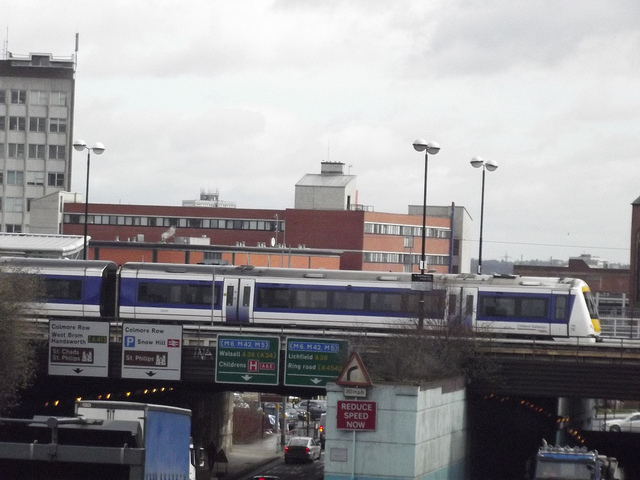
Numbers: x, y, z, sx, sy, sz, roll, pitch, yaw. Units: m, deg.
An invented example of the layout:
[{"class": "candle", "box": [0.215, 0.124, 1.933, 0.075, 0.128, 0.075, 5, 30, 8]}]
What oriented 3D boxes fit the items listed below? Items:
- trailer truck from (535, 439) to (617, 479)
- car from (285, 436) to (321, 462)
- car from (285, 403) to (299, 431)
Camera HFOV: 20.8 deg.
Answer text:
[{"class": "trailer truck", "box": [12.399, 11.366, 88.881, 2.206, 1.857, 3.217, 1, -8, 2]}, {"class": "car", "box": [-1.314, 13.815, 114.098, 1.484, 1.550, 2.521, -1, -4, 14]}, {"class": "car", "box": [-2.270, 13.726, 133.049, 0.843, 1.599, 6.279, 0, -4, -1]}]
